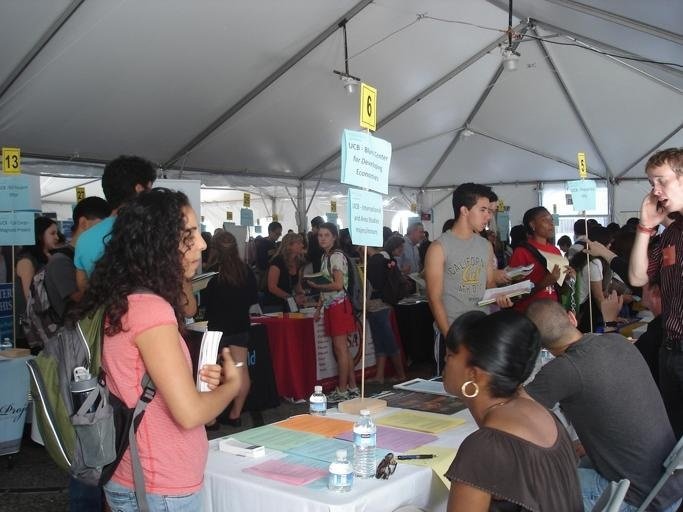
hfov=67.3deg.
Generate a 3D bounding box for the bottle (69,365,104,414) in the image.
[{"bbox_3d":[-0.848,0.437,1.678,0.137,0.150,0.064,-4,-2,29],"label":"bottle"}]

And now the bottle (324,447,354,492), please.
[{"bbox_3d":[-0.005,0.760,1.850,0.116,0.185,0.115,0,-7,0],"label":"bottle"}]

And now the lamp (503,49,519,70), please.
[{"bbox_3d":[2.397,-2.767,7.286,0.228,0.193,0.240,-2,-5,23],"label":"lamp"}]

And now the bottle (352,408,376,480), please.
[{"bbox_3d":[0.088,0.723,2.022,0.093,0.238,0.170,-3,-2,1],"label":"bottle"}]

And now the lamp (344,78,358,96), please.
[{"bbox_3d":[0.136,-2.400,7.223,0.170,0.159,0.174,-15,8,44],"label":"lamp"}]
